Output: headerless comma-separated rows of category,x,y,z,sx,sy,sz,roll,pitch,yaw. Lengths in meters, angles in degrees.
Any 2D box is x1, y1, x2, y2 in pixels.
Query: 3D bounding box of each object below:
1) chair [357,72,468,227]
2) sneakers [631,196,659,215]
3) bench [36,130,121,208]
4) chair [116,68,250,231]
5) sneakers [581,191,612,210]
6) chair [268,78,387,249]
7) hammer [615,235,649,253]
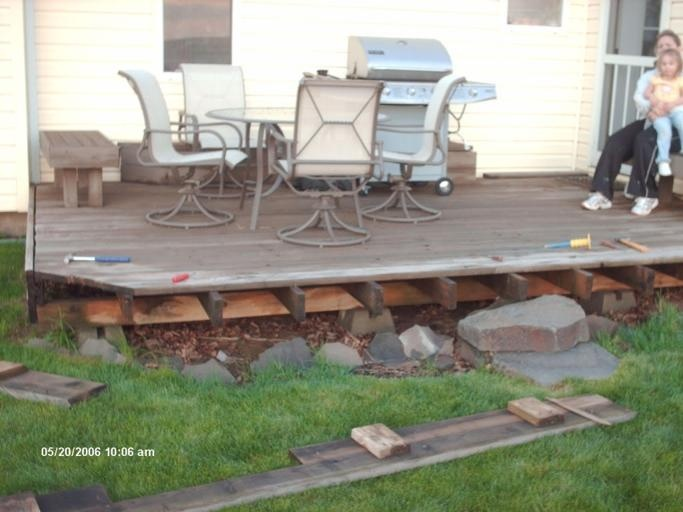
chair,0.578,-0.870,5.256,0.822,1.081,0.707,-1,12,-2
sneakers,2.689,-0.445,5.676,0.261,0.149,0.127,-11,16,-37
bench,-2.408,-0.898,5.630,0.542,0.500,1.031,-6,31,-30
chair,-1.212,-0.801,4.930,0.910,1.060,0.711,0,10,-16
sneakers,2.334,-0.500,5.843,0.323,0.146,0.125,0,8,-29
chair,-0.101,-0.662,4.515,0.764,1.147,0.790,-3,13,-7
hammer,2.108,-0.096,4.627,0.067,0.060,0.352,34,4,-18
